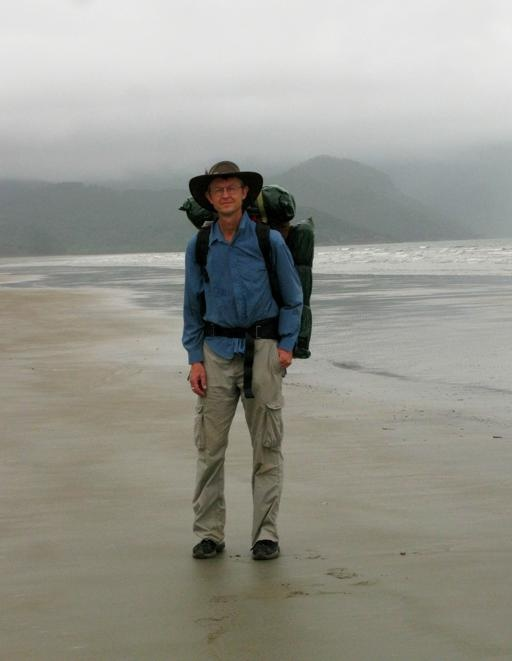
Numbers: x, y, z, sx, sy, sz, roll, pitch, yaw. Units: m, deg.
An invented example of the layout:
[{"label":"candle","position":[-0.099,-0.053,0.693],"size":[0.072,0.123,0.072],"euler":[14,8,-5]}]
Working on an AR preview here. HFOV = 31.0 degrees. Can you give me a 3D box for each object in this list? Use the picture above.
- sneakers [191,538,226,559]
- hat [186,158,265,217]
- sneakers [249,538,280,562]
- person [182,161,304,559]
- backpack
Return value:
[{"label":"sneakers","position":[-0.226,1.025,4.302],"size":[0.154,0.068,0.065],"euler":[6,0,-33]},{"label":"hat","position":[-0.148,-0.652,4.325],"size":[0.330,0.235,0.283],"euler":[1,10,-3]},{"label":"sneakers","position":[0.043,1.009,4.251],"size":[0.131,0.077,0.126],"euler":[1,10,-5]},{"label":"person","position":[-0.096,0.149,4.308],"size":[0.570,1.806,0.511],"euler":[3,11,6]},{"label":"backpack","position":[0.048,-0.184,4.560],"size":[0.710,1.004,0.377],"euler":[2,-10,-3]}]
